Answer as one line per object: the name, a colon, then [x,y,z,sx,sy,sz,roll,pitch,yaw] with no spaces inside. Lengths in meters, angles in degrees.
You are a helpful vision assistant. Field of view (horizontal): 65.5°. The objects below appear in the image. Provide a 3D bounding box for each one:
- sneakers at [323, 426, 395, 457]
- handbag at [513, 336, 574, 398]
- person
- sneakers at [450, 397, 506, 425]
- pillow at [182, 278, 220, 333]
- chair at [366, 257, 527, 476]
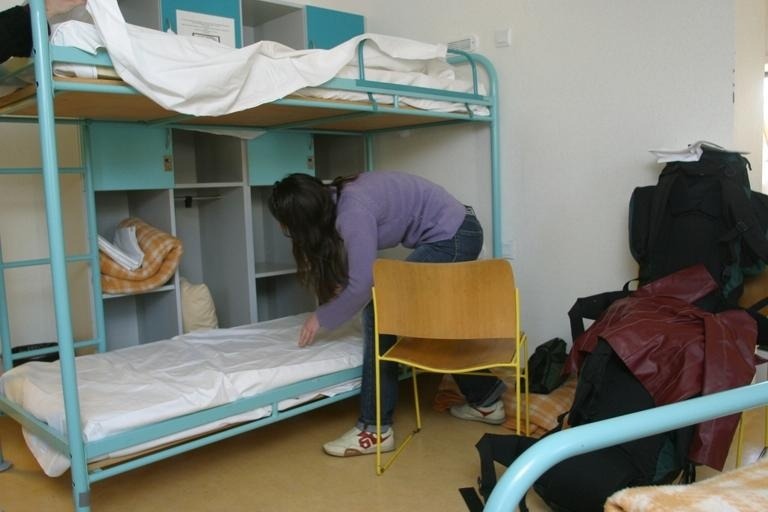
sneakers: [-0.133,1.051,3.344,0.457,0.187,0.163,1,-2,-8]
handbag: [1.009,0.680,3.704,0.118,0.316,0.237,38,-20,-33]
person: [0.070,0.304,3.521,1.391,1.585,0.651,-5,3,-16]
sneakers: [0.583,0.961,3.762,0.331,0.127,0.129,6,9,30]
pillow: [-1.338,0.381,4.360,0.200,0.362,0.341,-16,-1,18]
chair: [0.410,0.595,3.361,0.966,1.133,0.954,0,2,39]
